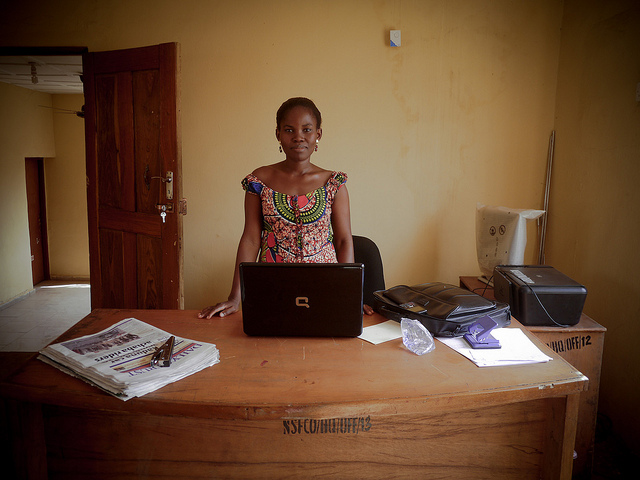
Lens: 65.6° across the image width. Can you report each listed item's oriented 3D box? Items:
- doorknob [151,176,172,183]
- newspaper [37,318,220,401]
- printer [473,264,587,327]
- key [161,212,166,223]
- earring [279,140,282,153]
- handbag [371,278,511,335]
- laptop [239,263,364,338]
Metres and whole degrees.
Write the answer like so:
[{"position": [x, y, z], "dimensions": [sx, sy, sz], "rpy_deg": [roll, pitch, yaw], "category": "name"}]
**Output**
[{"position": [-1.045, -0.412, 3.382], "dimensions": [0.089, 0.043, 0.020], "rpy_deg": [4, 11, 31], "category": "doorknob"}, {"position": [-0.766, 0.445, 1.954], "dimensions": [0.609, 0.089, 0.455], "rpy_deg": [6, 10, 37], "category": "newspaper"}, {"position": [1.138, 0.288, 2.721], "dimensions": [0.432, 0.238, 0.539], "rpy_deg": [2, 11, 2], "category": "printer"}, {"position": [-1.079, -0.155, 3.434], "dimensions": [0.031, 0.070, 0.005], "rpy_deg": [-3, 9, -6], "category": "key"}, {"position": [-0.307, -0.699, 3.831], "dimensions": [0.017, 0.047, 0.044], "rpy_deg": [-1, 9, 7], "category": "earring"}, {"position": [0.560, 0.298, 2.220], "dimensions": [0.579, 0.171, 0.339], "rpy_deg": [-3, 9, -10], "category": "handbag"}, {"position": [-0.068, 0.180, 2.184], "dimensions": [0.509, 0.358, 0.387], "rpy_deg": [2, 24, 4], "category": "laptop"}]
